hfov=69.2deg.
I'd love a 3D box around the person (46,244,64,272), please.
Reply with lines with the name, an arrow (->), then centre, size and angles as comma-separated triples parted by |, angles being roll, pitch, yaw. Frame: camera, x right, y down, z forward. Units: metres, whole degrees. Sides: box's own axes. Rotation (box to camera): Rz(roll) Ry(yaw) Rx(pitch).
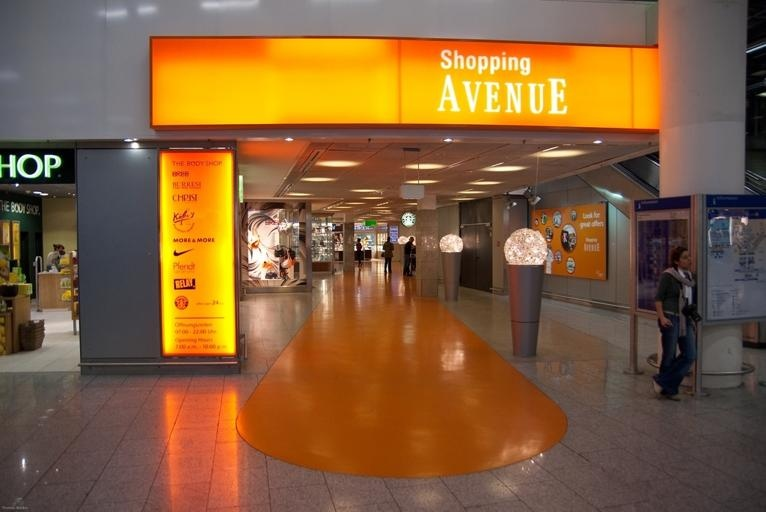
person -> -9.238, 0.097, 15.715 | 0.474, 0.733, 2.083 | -7, 13, -31

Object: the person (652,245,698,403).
person -> 4.324, 0.968, 8.191 | 0.715, 2.150, 0.534 | -10, 14, -40

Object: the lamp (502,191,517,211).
lamp -> 4.080, -1.794, 17.767 | 0.473, 0.912, 0.482 | 0, 0, 4
